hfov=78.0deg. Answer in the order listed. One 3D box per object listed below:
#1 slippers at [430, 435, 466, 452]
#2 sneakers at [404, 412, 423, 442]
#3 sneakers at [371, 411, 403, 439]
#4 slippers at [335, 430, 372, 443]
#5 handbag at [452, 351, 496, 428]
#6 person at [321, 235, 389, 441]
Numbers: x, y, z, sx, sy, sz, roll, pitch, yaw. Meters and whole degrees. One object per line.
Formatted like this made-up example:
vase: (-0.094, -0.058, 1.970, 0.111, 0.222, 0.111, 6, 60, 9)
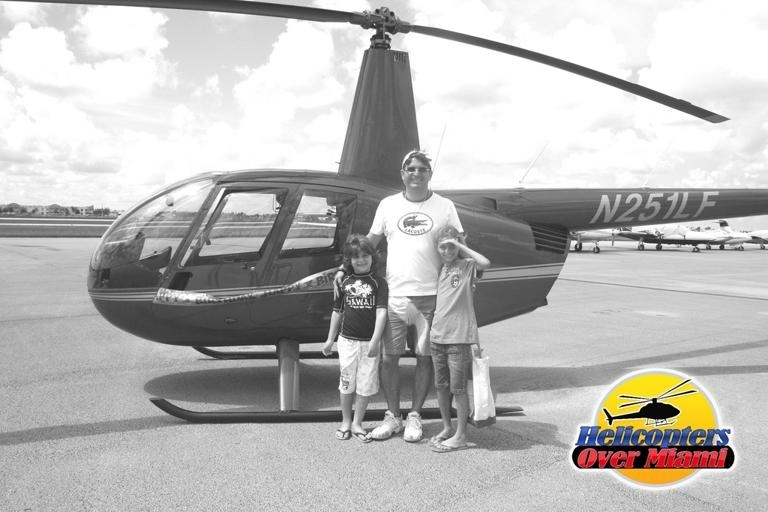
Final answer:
slippers: (0.567, 1.641, 4.169, 0.229, 0.066, 0.153, 4, -9, -15)
sneakers: (0.277, 1.535, 4.352, 0.172, 0.249, 0.268, 2, 7, 3)
sneakers: (0.048, 1.572, 4.399, 0.379, 0.175, 0.146, 2, -4, -42)
slippers: (-0.268, 1.629, 4.298, 0.317, 0.068, 0.114, 5, 3, 4)
handbag: (0.851, 1.146, 4.053, 0.257, 0.721, 0.270, 0, 8, -9)
person: (-0.246, 0.737, 4.364, 0.557, 1.843, 0.471, 5, 9, 22)
